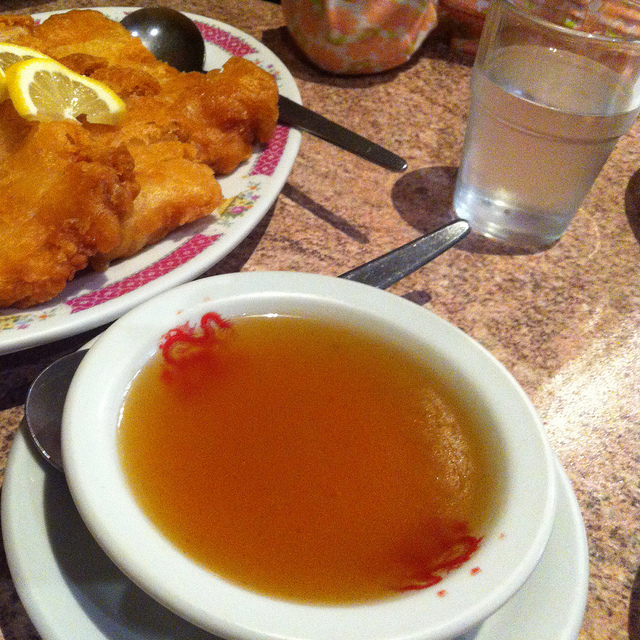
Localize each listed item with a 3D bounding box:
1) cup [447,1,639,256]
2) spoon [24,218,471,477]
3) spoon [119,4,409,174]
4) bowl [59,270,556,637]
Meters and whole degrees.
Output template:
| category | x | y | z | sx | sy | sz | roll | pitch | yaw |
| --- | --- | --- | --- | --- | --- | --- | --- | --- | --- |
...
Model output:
| category | x | y | z | sx | sy | sz | roll | pitch | yaw |
| --- | --- | --- | --- | --- | --- | --- | --- | --- | --- |
| cup | 0.318 | -0.278 | 0.973 | 0.254 | 0.336 | 0.205 | 22 | 60 | 11 |
| spoon | 0.027 | -0.046 | 0.887 | 0.812 | 0.115 | 0.192 | -29 | 71 | -22 |
| spoon | -0.101 | -0.431 | 1.215 | 0.739 | 0.101 | 0.168 | 33 | 78 | 25 |
| bowl | -0.020 | 0.127 | 0.579 | 0.370 | 0.183 | 0.446 | 0 | 34 | -6 |
